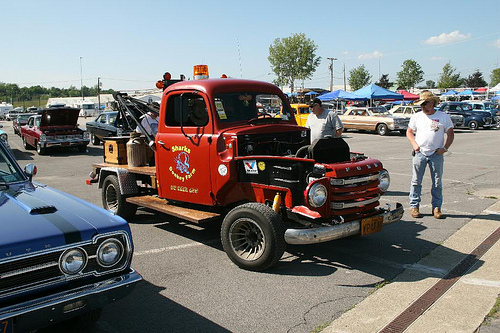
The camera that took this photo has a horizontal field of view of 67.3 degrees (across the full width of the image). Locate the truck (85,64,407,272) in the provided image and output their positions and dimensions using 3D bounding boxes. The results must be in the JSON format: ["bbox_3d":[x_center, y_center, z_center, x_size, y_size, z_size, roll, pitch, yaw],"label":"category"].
[{"bbox_3d":[-0.608,-0.345,7.477,3.233,2.383,6.503,-17,19,-42],"label":"truck"}]

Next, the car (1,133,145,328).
[{"bbox_3d":[-2.226,0.777,4.024,2.055,0.981,1.232,2,8,41],"label":"car"}]

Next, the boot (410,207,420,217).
[{"bbox_3d":[3.393,0.915,7.689,0.186,0.181,0.288,4,13,22],"label":"boot"}]

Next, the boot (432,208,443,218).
[{"bbox_3d":[3.808,0.922,7.594,0.196,0.185,0.322,4,13,24],"label":"boot"}]

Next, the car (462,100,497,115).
[{"bbox_3d":[18.741,-4.670,30.444,1.582,1.050,2.533,-13,19,-38],"label":"car"}]
